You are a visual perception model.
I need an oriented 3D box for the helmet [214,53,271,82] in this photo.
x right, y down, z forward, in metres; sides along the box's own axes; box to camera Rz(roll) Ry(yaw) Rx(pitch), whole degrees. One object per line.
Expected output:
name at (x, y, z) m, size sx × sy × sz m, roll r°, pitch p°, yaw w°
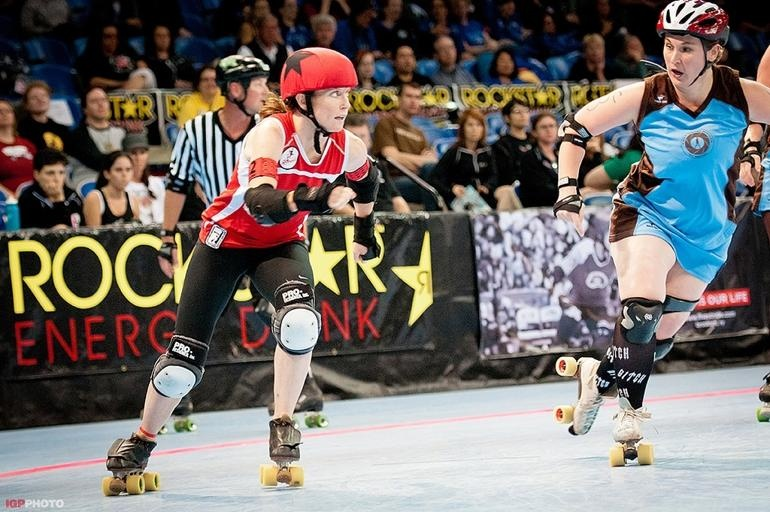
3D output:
helmet at (-1.165, -1.541, 6.940) m, size 0.310 × 0.144 × 0.239 m, roll 0°, pitch 6°, yaw 3°

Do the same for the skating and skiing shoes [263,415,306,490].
skating and skiing shoes at (-0.646, 1.234, 5.326) m, size 0.266 × 0.449 × 0.199 m, roll 0°, pitch 8°, yaw -9°

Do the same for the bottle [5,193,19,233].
bottle at (-3.550, -0.400, 8.117) m, size 0.112 × 0.312 × 0.451 m, roll -3°, pitch 9°, yaw -26°

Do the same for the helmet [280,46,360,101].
helmet at (-0.444, -1.195, 5.493) m, size 0.567 × 0.340 × 0.549 m, roll 3°, pitch 15°, yaw 33°

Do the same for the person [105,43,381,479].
person at (-0.811, 0.017, 5.531) m, size 1.399 × 2.705 × 1.011 m, roll 2°, pitch 8°, yaw 10°
